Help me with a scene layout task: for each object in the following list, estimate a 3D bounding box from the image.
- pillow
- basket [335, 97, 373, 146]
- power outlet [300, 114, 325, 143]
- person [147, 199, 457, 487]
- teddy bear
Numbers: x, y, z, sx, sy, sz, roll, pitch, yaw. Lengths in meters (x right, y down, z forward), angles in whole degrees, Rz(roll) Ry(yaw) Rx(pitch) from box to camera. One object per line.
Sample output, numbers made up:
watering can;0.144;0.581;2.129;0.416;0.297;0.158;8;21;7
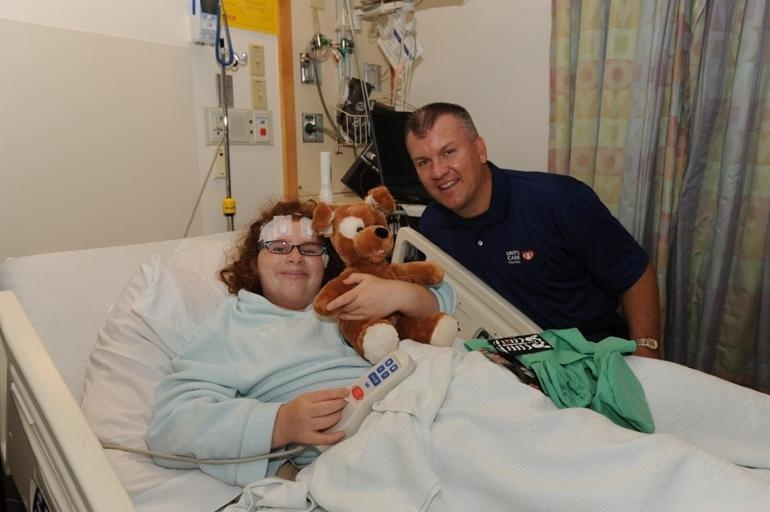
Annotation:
pillow;-0.883;0.336;2.023;0.450;0.611;0.169;30;-25;-26
basket;-0.196;-0.877;3.569;0.195;0.288;0.310;-2;1;-16
power outlet;-0.474;-0.828;3.534;0.166;0.174;0.084;-11;18;-44
person;-0.513;0.360;2.186;0.863;0.463;1.036;-5;24;-17
teddy bear;-0.002;0.099;2.121;0.506;0.575;0.407;-26;24;-28
